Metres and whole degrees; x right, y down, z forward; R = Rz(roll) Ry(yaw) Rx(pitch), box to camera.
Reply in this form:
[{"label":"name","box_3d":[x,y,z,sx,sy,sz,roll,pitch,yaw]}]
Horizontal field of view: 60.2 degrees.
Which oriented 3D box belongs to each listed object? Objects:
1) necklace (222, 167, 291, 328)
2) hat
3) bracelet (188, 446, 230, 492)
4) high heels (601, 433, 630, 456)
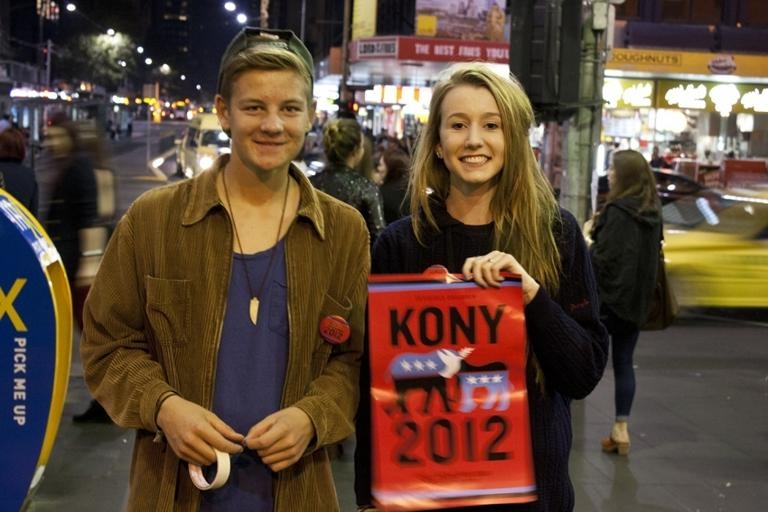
[{"label":"necklace","box_3d":[-0.509,-0.057,2.700,0.196,0.673,0.014,6,-33,-5]},{"label":"hat","box_3d":[-0.480,-0.764,2.819,0.367,0.404,0.418,1,-21,-8]},{"label":"bracelet","box_3d":[-0.628,0.769,2.467,0.064,0.157,0.180,14,32,-52]},{"label":"high heels","box_3d":[2.039,1.676,5.953,0.121,0.180,0.246,-1,6,-26]}]
